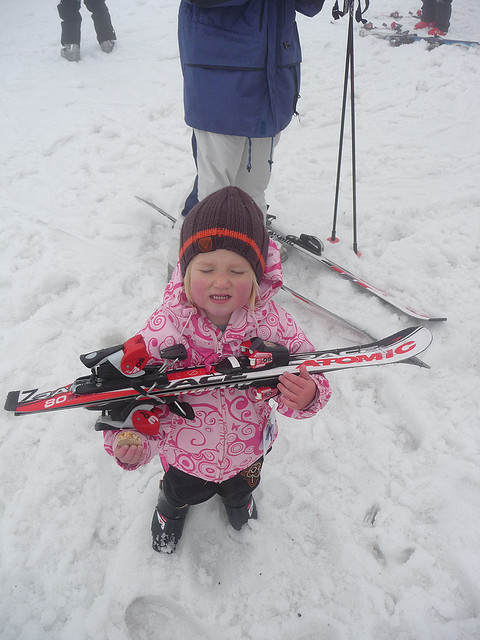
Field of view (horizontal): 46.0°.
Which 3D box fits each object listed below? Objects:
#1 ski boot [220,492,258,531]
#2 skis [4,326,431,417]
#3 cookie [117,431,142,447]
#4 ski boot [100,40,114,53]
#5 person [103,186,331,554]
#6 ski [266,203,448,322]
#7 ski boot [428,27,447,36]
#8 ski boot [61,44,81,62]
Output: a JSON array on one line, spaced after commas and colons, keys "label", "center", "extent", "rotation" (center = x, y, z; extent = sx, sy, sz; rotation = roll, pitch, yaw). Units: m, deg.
[{"label": "ski boot", "center": [-0.007, 0.879, 2.568], "extent": [0.130, 0.185, 0.142], "rotation": [22, 56, 30]}, {"label": "skis", "center": [-0.082, 0.243, 2.447], "extent": [1.868, 0.202, 0.187], "rotation": [-7, 42, -8]}, {"label": "cookie", "center": [-0.404, 0.437, 2.057], "extent": [0.083, 0.027, 0.060], "rotation": [-8, 38, -8]}, {"label": "ski boot", "center": [-1.331, -2.776, 5.706], "extent": [0.062, 0.077, 0.185], "rotation": [-35, 85, -14]}, {"label": "person", "center": [-0.124, 0.345, 2.339], "extent": [0.994, 1.686, 0.672], "rotation": [-9, 30, -20]}, {"label": "ski", "center": [0.774, -0.345, 3.607], "extent": [1.358, 0.171, 0.152], "rotation": [36, 86, 34]}, {"label": "ski boot", "center": [2.020, -2.987, 5.841], "extent": [0.206, 0.062, 0.124], "rotation": [-26, 44, -28]}, {"label": "ski boot", "center": [-1.660, -2.633, 5.548], "extent": [0.208, 0.140, 0.072], "rotation": [20, 87, -6]}]
